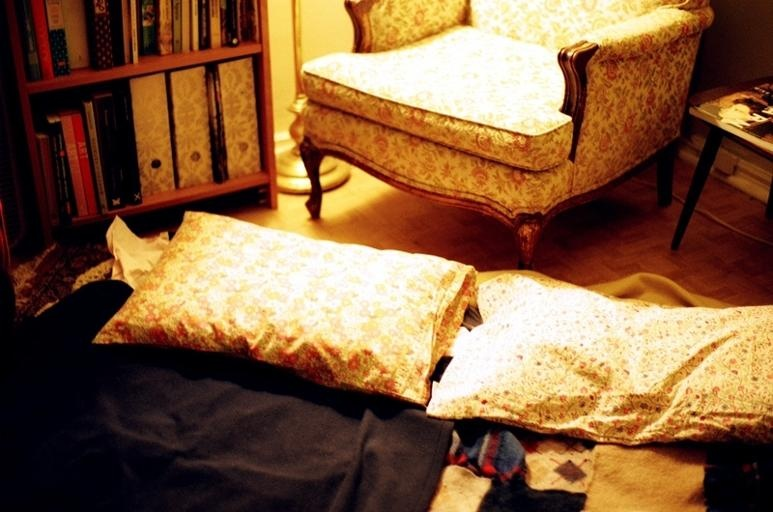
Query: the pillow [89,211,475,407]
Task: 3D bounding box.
[{"bbox_3d":[-0.238,0.107,1.419,0.672,0.132,0.443,15,49,12],"label":"pillow"}]
